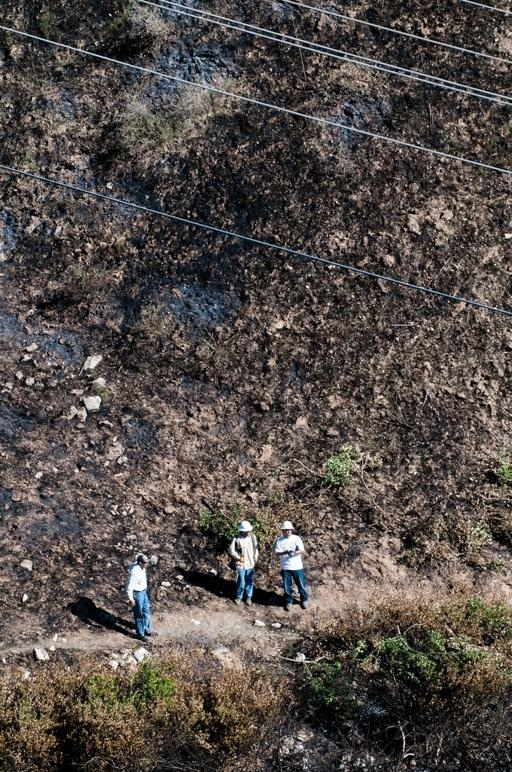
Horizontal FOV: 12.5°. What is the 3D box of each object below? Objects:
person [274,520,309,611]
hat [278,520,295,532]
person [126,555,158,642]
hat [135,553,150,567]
[{"bbox_3d":[0.449,2.266,29.352,0.288,1.196,0.335,-3,20,9],"label":"person"},{"bbox_3d":[0.379,1.760,29.202,0.116,0.081,0.124,-6,9,23],"label":"hat"},{"bbox_3d":[-1.421,2.676,29.181,0.235,1.180,0.657,11,14,17],"label":"person"},{"bbox_3d":[-1.379,2.154,29.061,0.128,0.129,0.134,23,-32,-7],"label":"hat"}]
